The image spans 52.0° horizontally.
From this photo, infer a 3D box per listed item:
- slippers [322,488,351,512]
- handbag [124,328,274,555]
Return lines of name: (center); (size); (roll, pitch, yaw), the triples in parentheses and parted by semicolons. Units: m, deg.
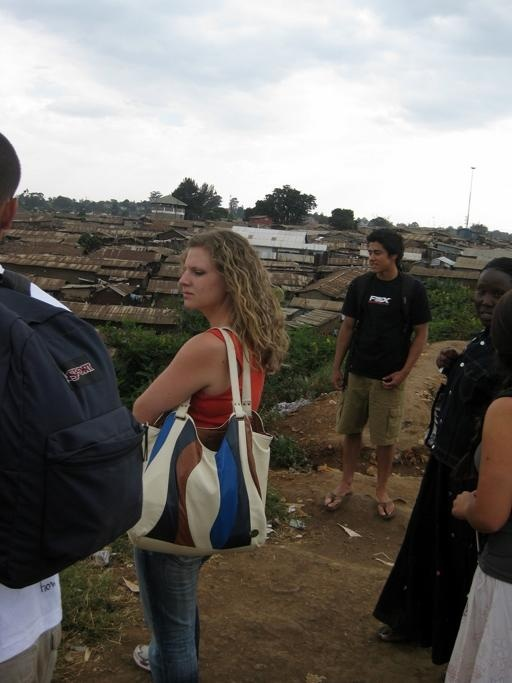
slippers: (0.645, 1.308, 4.265); (0.296, 0.108, 0.112); (6, -23, -43)
handbag: (-0.183, 0.326, 1.674); (0.485, 0.724, 0.233); (-3, 3, -28)
